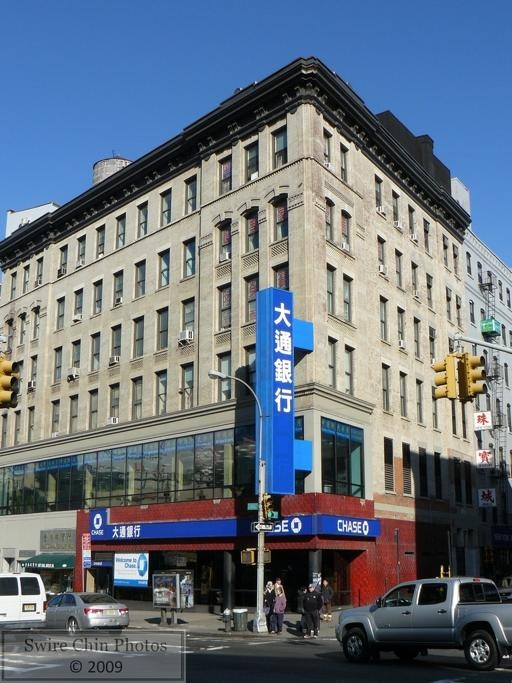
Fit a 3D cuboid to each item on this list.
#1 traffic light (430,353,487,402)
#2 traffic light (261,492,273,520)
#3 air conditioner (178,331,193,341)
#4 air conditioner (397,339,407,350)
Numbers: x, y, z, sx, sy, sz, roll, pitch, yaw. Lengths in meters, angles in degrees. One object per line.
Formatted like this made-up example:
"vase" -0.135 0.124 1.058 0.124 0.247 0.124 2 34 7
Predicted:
"traffic light" 4.429 0.784 19.051 1.138 1.144 1.198 1 -5 -15
"traffic light" 0.354 5.671 29.551 0.362 0.946 0.531 -5 -18 13
"air conditioner" -3.514 -0.174 42.668 0.420 0.628 0.806 3 -9 -28
"air conditioner" 7.690 0.042 45.130 0.355 0.556 0.745 -7 17 17
